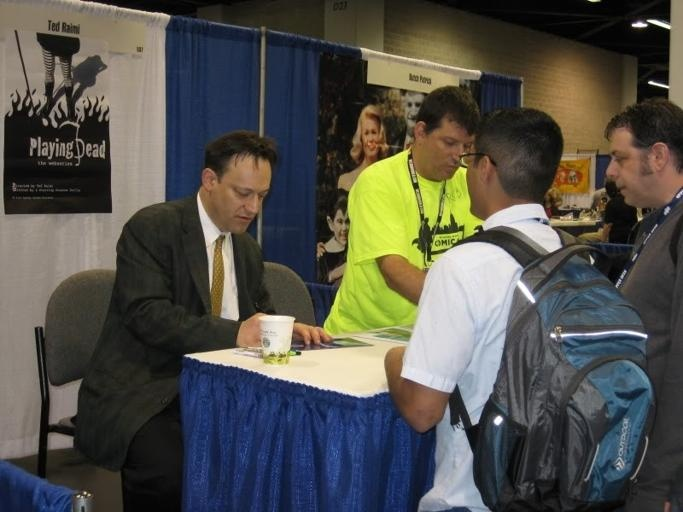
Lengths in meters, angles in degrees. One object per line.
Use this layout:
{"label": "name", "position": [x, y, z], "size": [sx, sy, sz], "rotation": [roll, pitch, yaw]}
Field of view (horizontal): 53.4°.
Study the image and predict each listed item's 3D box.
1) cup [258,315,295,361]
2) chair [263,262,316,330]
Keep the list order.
{"label": "cup", "position": [-0.189, 0.266, 2.244], "size": [0.126, 0.144, 0.128], "rotation": [0, -2, 0]}
{"label": "chair", "position": [-0.276, 0.193, 3.551], "size": [0.272, 0.386, 0.291], "rotation": [0, -4, -42]}
